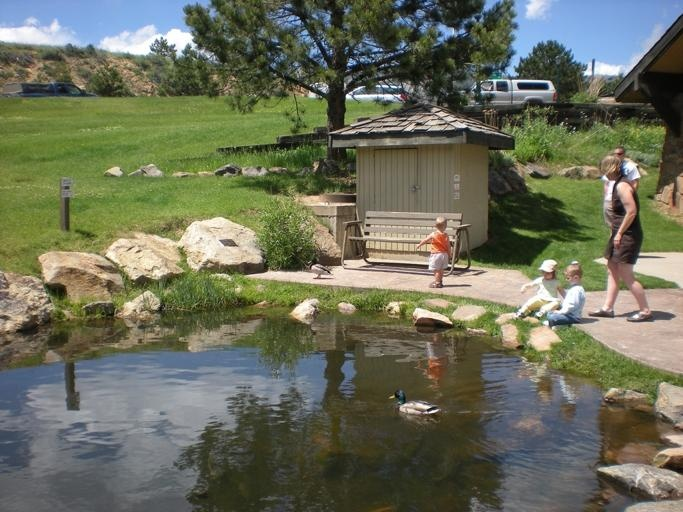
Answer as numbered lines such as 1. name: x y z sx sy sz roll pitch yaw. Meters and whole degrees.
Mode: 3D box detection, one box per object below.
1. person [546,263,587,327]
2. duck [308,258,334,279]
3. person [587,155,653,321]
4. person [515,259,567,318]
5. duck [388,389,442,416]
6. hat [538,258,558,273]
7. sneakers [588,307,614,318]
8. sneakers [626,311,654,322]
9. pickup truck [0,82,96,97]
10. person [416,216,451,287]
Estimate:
1. person: 3.832 0.593 11.882 0.713 1.097 0.798 -6 14 -16
2. duck: -0.446 0.308 15.888 0.289 0.483 0.771 -8 -8 36
3. person: 4.823 -0.290 11.692 0.886 2.803 0.744 1 12 21
4. person: 3.581 0.612 12.190 0.716 1.010 0.993 10 13 42
5. duck: 1.014 2.028 9.516 0.717 0.312 0.261 2 0 28
6. hat: 3.705 0.186 12.098 0.275 0.226 0.422 -1 1 31
7. sneakers: 4.618 0.999 12.072 0.399 0.157 0.168 4 4 15
8. sneakers: 5.142 1.048 11.699 0.456 0.174 0.200 0 4 2
9. pickup truck: -19.950 -11.118 45.729 5.000 1.021 2.546 -11 14 -33
10. person: 2.120 -0.143 15.493 0.619 1.510 1.974 -2 12 6
